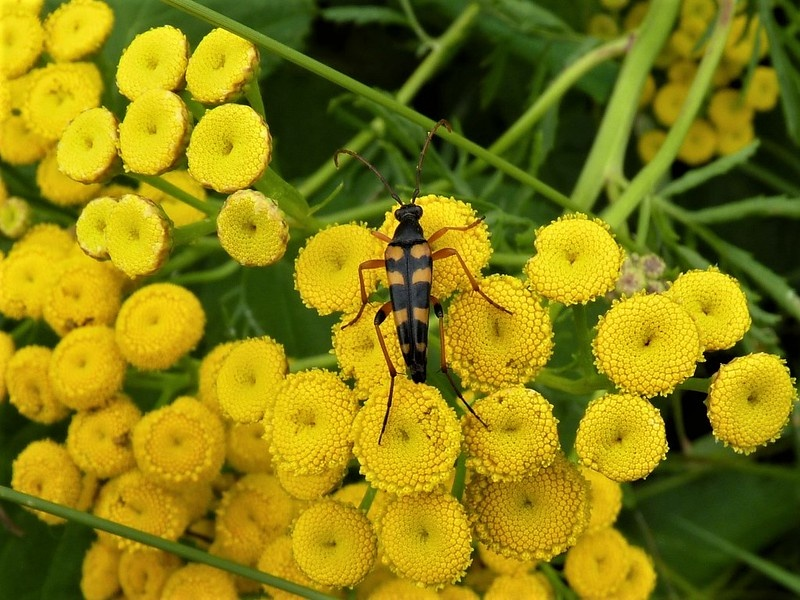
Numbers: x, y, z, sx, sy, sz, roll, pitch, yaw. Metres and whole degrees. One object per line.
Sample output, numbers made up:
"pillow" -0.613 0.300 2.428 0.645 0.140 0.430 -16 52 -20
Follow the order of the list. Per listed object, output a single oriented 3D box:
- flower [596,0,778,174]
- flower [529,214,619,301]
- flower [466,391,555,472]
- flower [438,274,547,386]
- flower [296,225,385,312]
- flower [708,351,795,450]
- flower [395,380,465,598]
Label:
"flower" 0.514 -0.423 1.397 0.234 0.151 0.354 -8 77 2
"flower" 0.253 -0.058 1.160 0.129 0.031 0.144 20 79 7
"flower" 0.154 0.188 1.121 0.132 0.046 0.122 -16 77 0
"flower" 0.142 0.053 1.155 0.156 0.048 0.188 -17 53 -1
"flower" -0.100 -0.048 1.171 0.114 0.033 0.136 22 92 7
"flower" 0.483 0.139 1.102 0.127 0.050 0.121 -20 77 -1
"flower" 0.034 0.256 1.103 0.132 0.060 0.248 -6 91 -13
